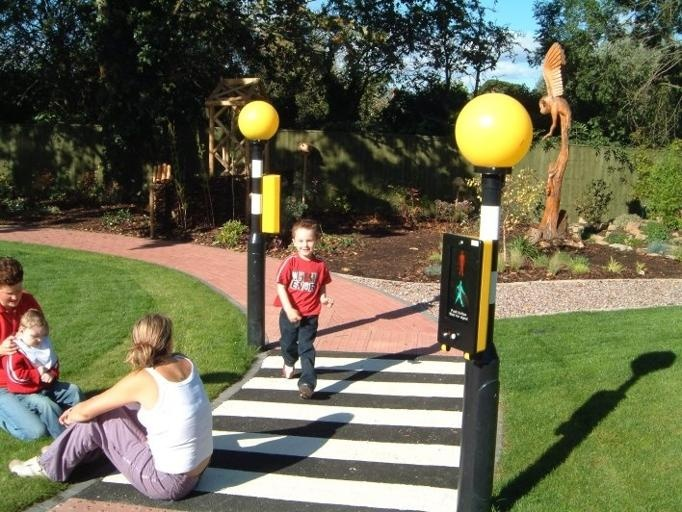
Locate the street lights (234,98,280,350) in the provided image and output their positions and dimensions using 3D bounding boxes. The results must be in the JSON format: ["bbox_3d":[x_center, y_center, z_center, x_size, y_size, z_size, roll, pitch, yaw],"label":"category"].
[{"bbox_3d":[-1.114,-0.369,8.225,0.485,3.322,0.518,-1,12,-8],"label":"street lights"}]

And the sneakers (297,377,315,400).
[{"bbox_3d":[-0.401,1.560,7.054,0.190,0.242,0.251,-1,13,-9],"label":"sneakers"}]

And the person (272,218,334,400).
[{"bbox_3d":[-0.454,0.610,7.090,0.635,2.051,0.706,0,12,-4],"label":"person"}]

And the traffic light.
[{"bbox_3d":[0.997,0.324,4.882,0.414,0.964,0.239,5,12,20],"label":"traffic light"}]

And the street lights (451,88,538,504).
[{"bbox_3d":[1.182,0.418,5.084,0.593,3.452,0.722,5,12,18],"label":"street lights"}]
